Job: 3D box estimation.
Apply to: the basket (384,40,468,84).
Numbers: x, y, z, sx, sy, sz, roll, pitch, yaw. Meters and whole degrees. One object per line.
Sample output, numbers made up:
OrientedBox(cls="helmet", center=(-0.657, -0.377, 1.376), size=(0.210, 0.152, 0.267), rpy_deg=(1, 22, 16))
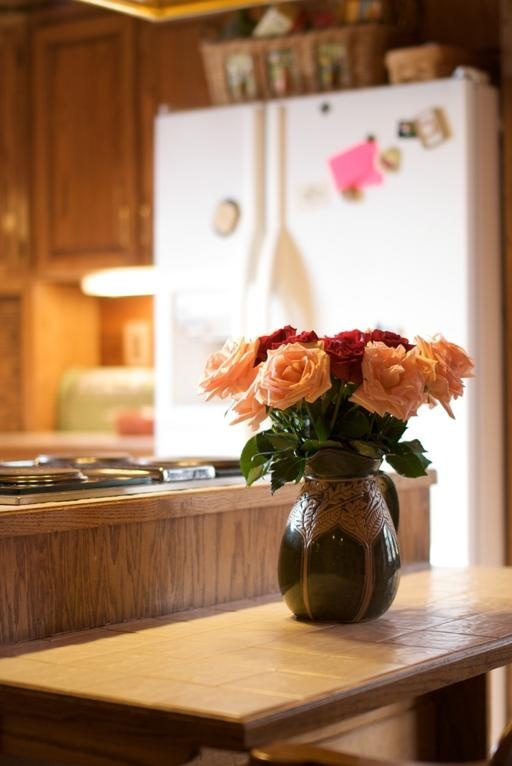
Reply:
OrientedBox(cls="basket", center=(0.447, -0.865, 1.964), size=(0.170, 0.057, 0.168), rpy_deg=(-13, 16, -21))

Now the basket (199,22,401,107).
OrientedBox(cls="basket", center=(0.164, -0.925, 2.202), size=(0.579, 0.180, 0.401), rpy_deg=(10, 16, 36))

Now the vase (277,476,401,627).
OrientedBox(cls="vase", center=(0.107, 0.204, 0.938), size=(0.148, 0.163, 0.183), rpy_deg=(0, -3, 19))

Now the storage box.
OrientedBox(cls="storage box", center=(0.121, -0.898, 2.030), size=(0.255, 0.120, 0.352), rpy_deg=(-3, 1, 22))

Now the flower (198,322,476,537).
OrientedBox(cls="flower", center=(0.087, 0.026, 0.846), size=(0.320, 0.198, 0.212), rpy_deg=(-2, -9, 15))
